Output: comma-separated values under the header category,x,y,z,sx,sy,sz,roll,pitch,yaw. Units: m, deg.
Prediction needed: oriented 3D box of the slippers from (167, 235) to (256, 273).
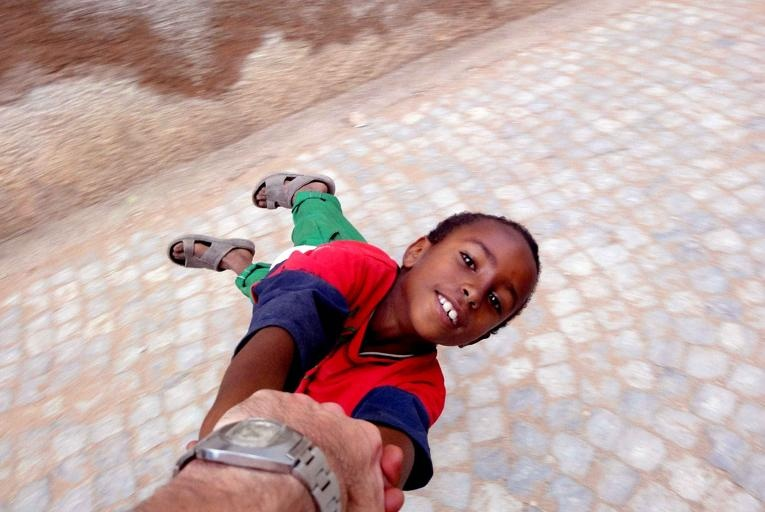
category,x,y,z,sx,sy,sz,roll,pitch,yaw
slippers,-1.069,-0.012,3.504,0.570,0.184,0.192,1,21,-5

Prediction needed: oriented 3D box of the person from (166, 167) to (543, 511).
category,x,y,z,sx,sy,sz,roll,pitch,yaw
person,-0.137,0.240,2.921,1.339,1.047,1.651,20,37,-25

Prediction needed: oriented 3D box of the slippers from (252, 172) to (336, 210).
category,x,y,z,sx,sy,sz,roll,pitch,yaw
slippers,-0.597,-0.426,3.733,0.593,0.203,0.184,2,22,14
